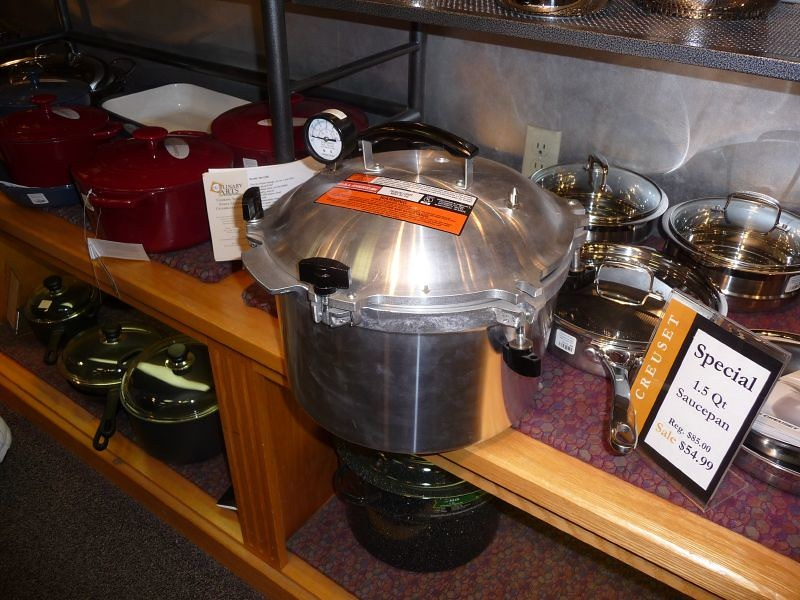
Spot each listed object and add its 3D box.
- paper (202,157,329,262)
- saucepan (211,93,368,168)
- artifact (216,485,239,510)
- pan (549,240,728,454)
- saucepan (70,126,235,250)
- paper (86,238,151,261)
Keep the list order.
[{"bbox_3d":[-0.233,-0.161,1.090,0.278,0.189,0.026,-2,27,3],"label":"paper"},{"bbox_3d":[-0.296,-0.389,1.406,0.285,0.171,0.271,-10,29,-16],"label":"saucepan"},{"bbox_3d":[-0.444,0.514,1.606,0.059,0.018,0.089,-7,25,-5],"label":"artifact"},{"bbox_3d":[0.383,0.033,1.103,0.253,0.135,0.386,10,42,20],"label":"pan"},{"bbox_3d":[-0.546,-0.228,1.416,0.330,0.212,0.276,-8,38,-8],"label":"saucepan"},{"bbox_3d":[-0.624,-0.112,1.370,0.104,0.046,0.059,-10,51,-20],"label":"paper"}]
